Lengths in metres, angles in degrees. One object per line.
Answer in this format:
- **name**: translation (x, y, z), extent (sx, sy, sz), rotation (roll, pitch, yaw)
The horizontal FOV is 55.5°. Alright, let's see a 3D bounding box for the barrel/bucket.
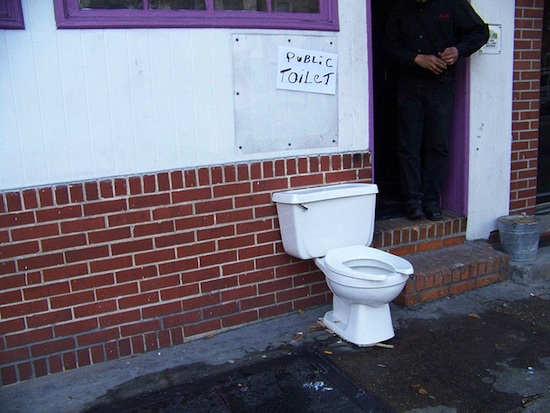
- **barrel/bucket**: translation (2.512, 0.304, 5.384), extent (0.386, 0.468, 0.364), rotation (-7, 14, 2)
